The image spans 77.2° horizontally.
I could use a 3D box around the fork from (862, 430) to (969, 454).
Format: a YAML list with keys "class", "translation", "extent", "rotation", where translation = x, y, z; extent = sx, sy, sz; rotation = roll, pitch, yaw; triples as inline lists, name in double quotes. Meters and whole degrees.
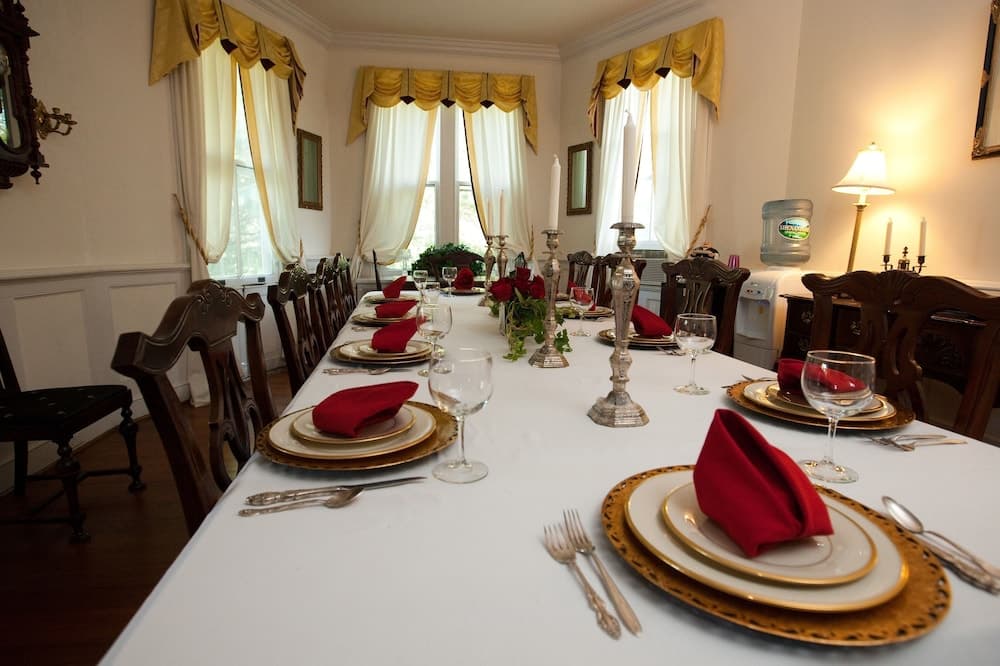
- class: "fork"
  translation: [1.070, 0.287, 1.666]
  extent: [0.333, 0.052, 0.087]
  rotation: [0, 13, -7]

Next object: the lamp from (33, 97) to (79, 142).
- class: "lamp"
  translation: [-2.388, -1.121, 3.432]
  extent: [0.163, 0.259, 0.246]
  rotation: [2, 2, -11]

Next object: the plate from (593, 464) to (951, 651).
- class: "plate"
  translation: [0.562, 0.458, 1.331]
  extent: [0.685, 0.217, 0.341]
  rotation: [3, 14, 17]

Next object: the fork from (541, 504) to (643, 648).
- class: "fork"
  translation: [0.190, 0.485, 1.271]
  extent: [0.090, 0.046, 0.296]
  rotation: [-11, 33, -15]

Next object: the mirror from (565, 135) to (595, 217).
- class: "mirror"
  translation: [0.816, -1.600, 6.511]
  extent: [0.101, 0.734, 0.397]
  rotation: [-7, 14, -25]

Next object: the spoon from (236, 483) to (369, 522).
- class: "spoon"
  translation: [-0.406, 0.377, 1.456]
  extent: [0.366, 0.049, 0.090]
  rotation: [-1, 20, -14]
